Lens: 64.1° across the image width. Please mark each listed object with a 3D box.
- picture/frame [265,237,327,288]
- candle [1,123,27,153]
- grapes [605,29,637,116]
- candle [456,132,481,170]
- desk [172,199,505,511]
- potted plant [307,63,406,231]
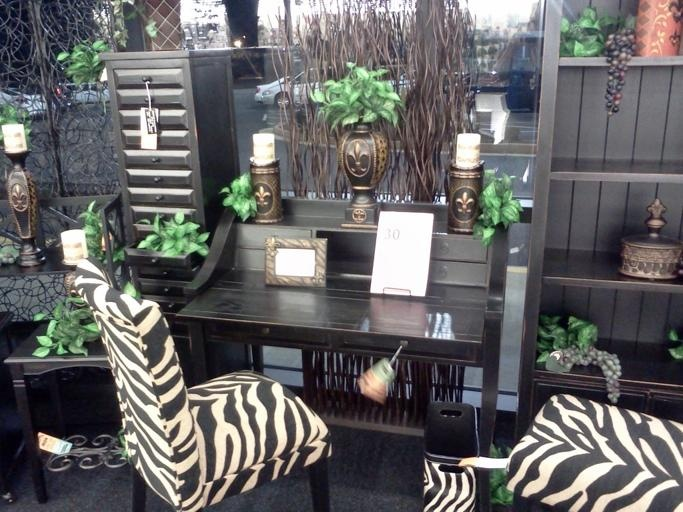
[{"bbox_3d":[-0.203,0.037,2.525,0.199,0.169,0.028,2,1,10],"label":"picture/frame"},{"bbox_3d":[-1.548,-0.557,2.601,0.098,0.137,0.094,-8,14,-31],"label":"candle"},{"bbox_3d":[1.025,-0.680,2.022,0.096,0.299,0.057,5,13,26],"label":"grapes"},{"bbox_3d":[0.547,-0.469,2.451,0.134,0.162,0.141,0,6,10],"label":"candle"},{"bbox_3d":[-0.010,0.397,2.384,1.159,1.205,0.661,4,14,18],"label":"desk"},{"bbox_3d":[0.088,-0.498,2.586,0.375,0.733,0.376,-3,11,-9],"label":"potted plant"}]
